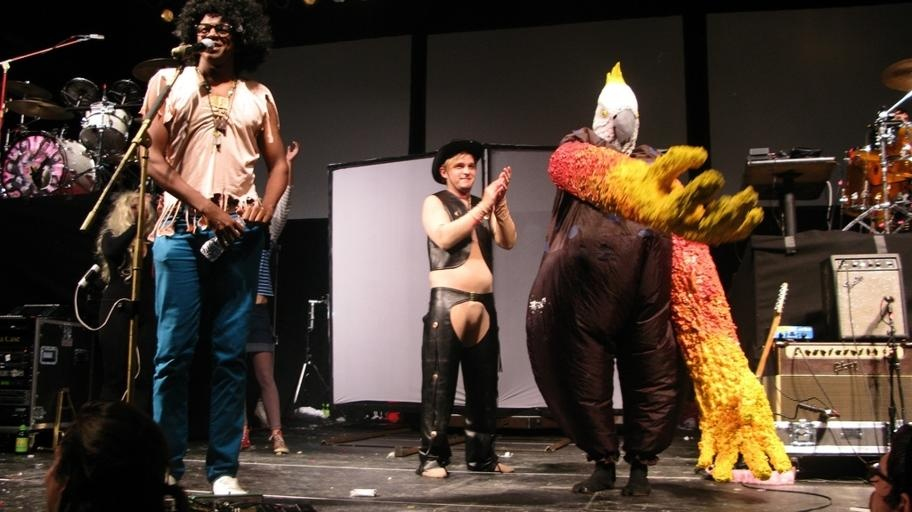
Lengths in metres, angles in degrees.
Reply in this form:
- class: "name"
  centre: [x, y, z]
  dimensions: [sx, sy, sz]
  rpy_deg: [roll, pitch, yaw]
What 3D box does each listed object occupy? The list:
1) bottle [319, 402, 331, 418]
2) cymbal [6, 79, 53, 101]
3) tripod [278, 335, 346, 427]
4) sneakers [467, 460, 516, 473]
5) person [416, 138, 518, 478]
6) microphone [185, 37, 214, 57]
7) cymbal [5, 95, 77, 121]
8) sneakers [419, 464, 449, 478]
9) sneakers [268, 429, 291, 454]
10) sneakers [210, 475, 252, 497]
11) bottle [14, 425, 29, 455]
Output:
- class: "bottle"
  centre: [-1.699, 2.032, 9.887]
  dimensions: [0.156, 0.252, 0.148]
  rpy_deg: [-1, -14, 0]
- class: "cymbal"
  centre: [-5.451, -2.111, 9.698]
  dimensions: [0.435, 0.137, 0.411]
  rpy_deg: [5, -24, -29]
- class: "tripod"
  centre: [-1.883, 1.693, 9.947]
  dimensions: [1.019, 1.635, 1.035]
  rpy_deg: [2, -10, -12]
- class: "sneakers"
  centre: [0.299, 1.729, 6.153]
  dimensions: [0.336, 0.072, 0.136]
  rpy_deg: [-2, -11, 1]
- class: "person"
  centre: [0.083, 0.403, 6.097]
  dimensions: [0.729, 2.708, 0.555]
  rpy_deg: [1, -4, 4]
- class: "microphone"
  centre: [-1.770, -1.453, 5.305]
  dimensions: [0.162, 0.136, 0.165]
  rpy_deg: [2, -4, -16]
- class: "cymbal"
  centre: [-5.340, -1.879, 9.768]
  dimensions: [0.425, 0.086, 0.431]
  rpy_deg: [-11, -13, 40]
- class: "sneakers"
  centre: [-0.160, 1.709, 5.956]
  dimensions: [0.186, 0.073, 0.102]
  rpy_deg: [-11, -17, 36]
- class: "sneakers"
  centre: [-1.677, 1.781, 7.189]
  dimensions: [0.138, 0.210, 0.356]
  rpy_deg: [-15, -26, -8]
- class: "sneakers"
  centre: [-1.545, 1.602, 5.211]
  dimensions: [0.260, 0.102, 0.141]
  rpy_deg: [-1, -5, 20]
- class: "bottle"
  centre: [-3.917, 1.667, 6.860]
  dimensions: [0.118, 0.235, 0.102]
  rpy_deg: [1, -4, -8]
